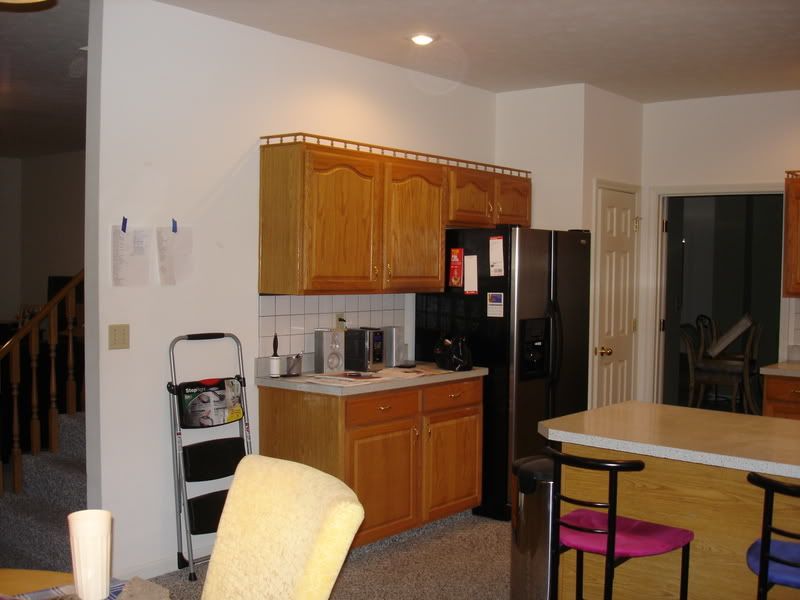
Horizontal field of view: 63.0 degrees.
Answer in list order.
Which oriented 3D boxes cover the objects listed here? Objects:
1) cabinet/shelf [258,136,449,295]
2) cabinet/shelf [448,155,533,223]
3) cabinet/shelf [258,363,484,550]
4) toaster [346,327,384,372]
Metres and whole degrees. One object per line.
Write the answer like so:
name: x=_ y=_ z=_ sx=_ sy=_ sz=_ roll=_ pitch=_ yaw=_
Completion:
cabinet/shelf: x=-0.265 y=-0.527 z=4.751 sx=0.483 sy=0.995 sz=1.485 roll=5 pitch=6 yaw=43
cabinet/shelf: x=0.697 y=-0.805 z=5.487 sx=1.020 sy=0.408 sz=0.294 roll=-1 pitch=3 yaw=-39
cabinet/shelf: x=-0.105 y=1.063 z=4.780 sx=0.808 sy=1.076 sz=1.556 roll=-2 pitch=-3 yaw=43
toaster: x=-0.256 y=0.384 z=4.827 sx=0.222 sy=0.296 sz=0.295 roll=-2 pitch=-6 yaw=33
